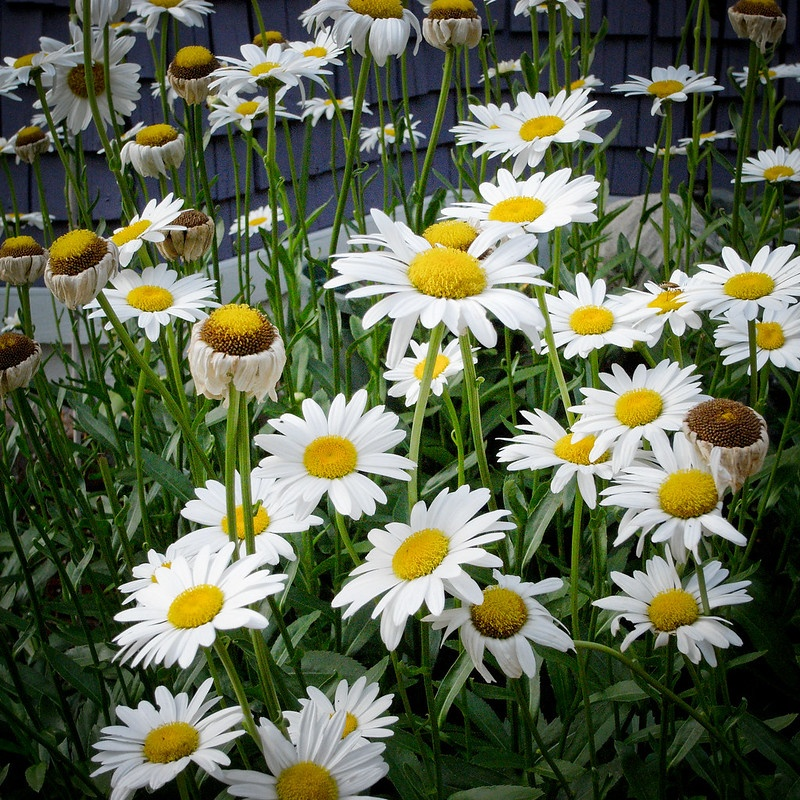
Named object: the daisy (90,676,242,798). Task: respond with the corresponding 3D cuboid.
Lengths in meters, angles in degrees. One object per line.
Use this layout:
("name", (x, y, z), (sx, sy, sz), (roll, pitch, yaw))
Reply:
("daisy", (-0.270, 0.403, 1.075), (0.173, 0.067, 0.153), (-7, 27, -15))
